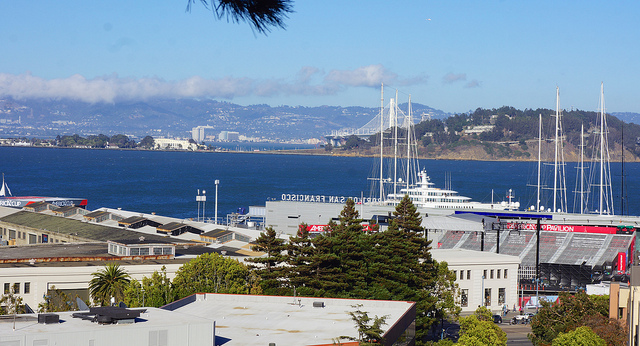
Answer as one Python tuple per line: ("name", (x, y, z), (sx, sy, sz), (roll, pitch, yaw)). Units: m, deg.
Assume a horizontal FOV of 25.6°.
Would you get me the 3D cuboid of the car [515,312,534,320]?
("car", (102.885, 72.112, 709.645), (6.414, 2.342, 3.808), (-1, 2, -33))
